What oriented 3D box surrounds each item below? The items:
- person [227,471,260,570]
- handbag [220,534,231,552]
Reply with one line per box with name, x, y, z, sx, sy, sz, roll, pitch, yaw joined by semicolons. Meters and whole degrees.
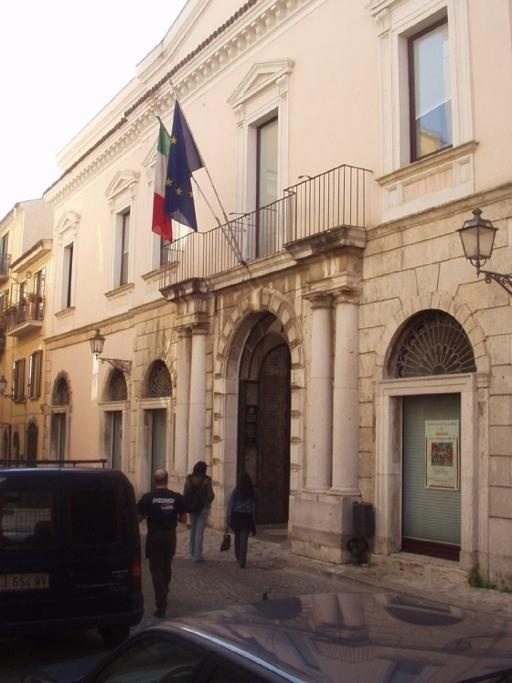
person;-0.222;2.751;10.207;0.420;1.404;0.468;7;-10;-37
handbag;-0.480;3.088;10.132;0.144;0.247;0.328;3;-10;-9
